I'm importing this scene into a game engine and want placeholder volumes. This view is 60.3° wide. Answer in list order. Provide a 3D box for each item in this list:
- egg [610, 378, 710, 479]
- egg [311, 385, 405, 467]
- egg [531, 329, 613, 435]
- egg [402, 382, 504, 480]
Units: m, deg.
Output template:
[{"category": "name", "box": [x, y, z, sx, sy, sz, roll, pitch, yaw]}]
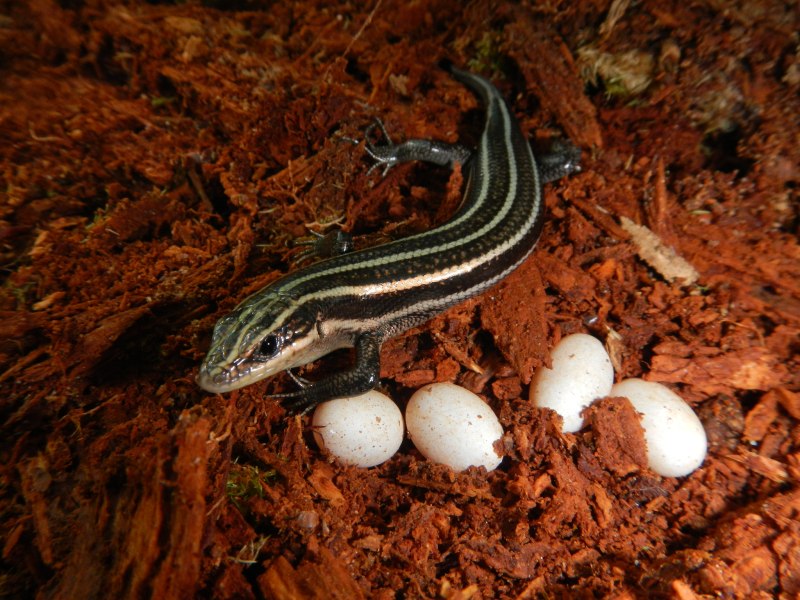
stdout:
[{"category": "egg", "box": [1.578, 0.781, 4.465, 0.730, 0.483, 0.785, 0, 26, -1]}, {"category": "egg", "box": [-0.252, 0.835, 4.313, 0.546, 0.268, 0.469, -13, 84, -5]}, {"category": "egg", "box": [1.101, 0.518, 4.392, 0.423, 0.124, 0.631, 35, 82, 1]}, {"category": "egg", "box": [0.335, 0.800, 4.300, 0.591, 0.177, 0.531, 3, 83, -3]}]
